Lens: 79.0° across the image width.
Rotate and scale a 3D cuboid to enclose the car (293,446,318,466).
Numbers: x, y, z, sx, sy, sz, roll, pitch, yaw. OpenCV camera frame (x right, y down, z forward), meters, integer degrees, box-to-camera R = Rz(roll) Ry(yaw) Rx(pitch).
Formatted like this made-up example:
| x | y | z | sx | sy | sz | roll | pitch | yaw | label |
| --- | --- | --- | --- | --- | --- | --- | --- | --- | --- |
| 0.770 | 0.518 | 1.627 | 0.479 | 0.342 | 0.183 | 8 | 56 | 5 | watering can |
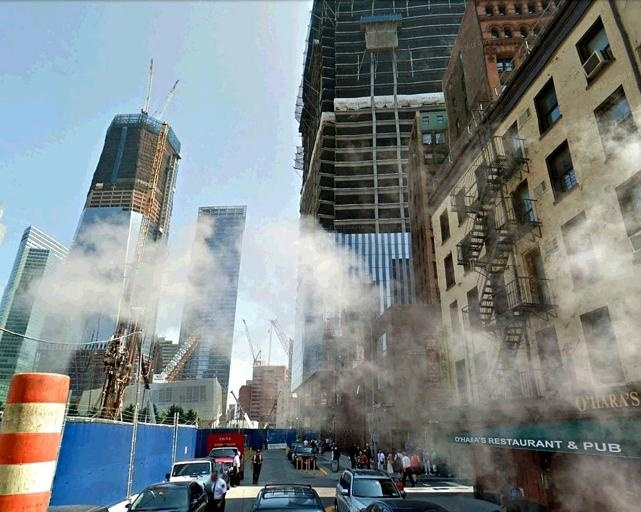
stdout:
| x | y | z | sx | sy | sz | roll | pitch | yaw | label |
| --- | --- | --- | --- | --- | --- | --- | --- | --- | --- |
| -1.349 | 17.155 | 33.137 | 1.371 | 1.373 | 2.440 | 1 | -41 | -3 | car |
